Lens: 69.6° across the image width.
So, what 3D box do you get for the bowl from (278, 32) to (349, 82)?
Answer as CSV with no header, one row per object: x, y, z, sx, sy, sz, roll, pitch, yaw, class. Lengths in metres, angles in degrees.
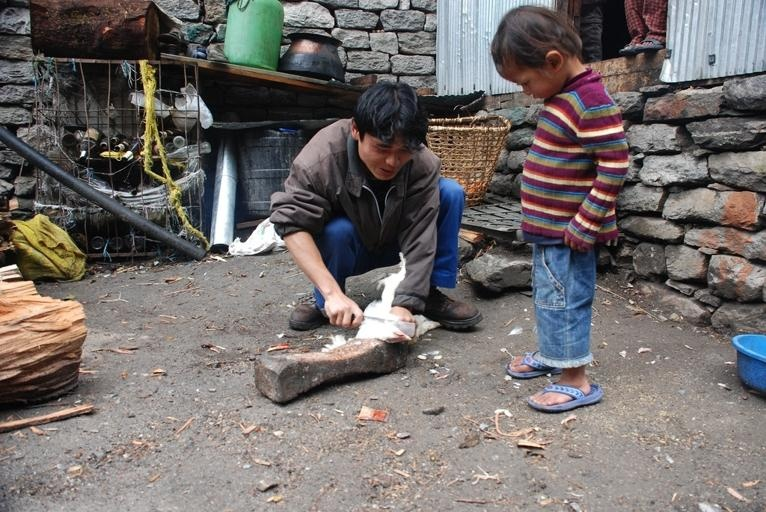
-0.735,-2.212,6.243,0.857,0.487,0.781,1,14,0,bowl

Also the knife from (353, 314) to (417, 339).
0.009,0.430,3.308,0.298,0.100,0.166,-3,16,11,knife

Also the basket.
0.739,-0.989,5.485,0.975,0.814,0.920,-7,16,-32,basket

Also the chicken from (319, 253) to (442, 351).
0.002,0.276,3.496,0.388,0.513,1.201,1,1,19,chicken

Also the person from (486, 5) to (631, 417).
0.914,-0.214,3.162,0.997,1.993,1.157,1,0,-13,person

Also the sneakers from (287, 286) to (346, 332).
-0.498,0.371,4.014,0.212,0.244,0.452,23,18,26,sneakers

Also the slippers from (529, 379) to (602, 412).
1.028,0.769,3.040,0.325,0.081,0.172,-3,8,-15,slippers

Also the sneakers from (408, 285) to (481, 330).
0.455,0.336,3.967,0.225,0.266,0.610,-27,18,-27,sneakers
